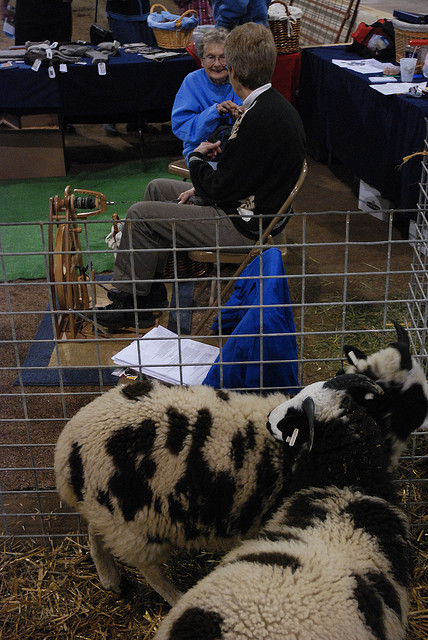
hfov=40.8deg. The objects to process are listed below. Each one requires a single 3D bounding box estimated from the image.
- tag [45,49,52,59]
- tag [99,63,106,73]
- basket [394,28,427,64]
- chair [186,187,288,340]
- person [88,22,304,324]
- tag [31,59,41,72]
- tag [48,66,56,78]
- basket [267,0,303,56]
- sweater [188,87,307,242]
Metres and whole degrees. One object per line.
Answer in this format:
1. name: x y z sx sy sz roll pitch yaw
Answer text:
1. tag: -1.697 -2.730 5.913 0.054 0.100 0.115 -3 20 -13
2. tag: -1.147 -2.590 5.924 0.058 0.084 0.024 -4 20 -15
3. basket: 1.665 -2.395 5.029 0.329 0.191 0.253 9 34 22
4. chair: 0.185 -0.370 3.330 0.647 0.841 0.566 -3 2 17
5. person: -0.123 -0.836 3.486 1.269 1.756 0.742 5 30 -2
6. tag: -1.785 -2.552 5.769 0.060 0.105 0.027 22 -18 5
7. tag: -1.641 -2.499 5.819 0.071 0.094 0.038 -6 21 -21
8. basket: 0.707 -3.017 5.942 0.323 0.531 0.701 5 19 9
9. sweater: 0.181 -0.936 3.231 0.643 0.689 0.339 3 20 6
